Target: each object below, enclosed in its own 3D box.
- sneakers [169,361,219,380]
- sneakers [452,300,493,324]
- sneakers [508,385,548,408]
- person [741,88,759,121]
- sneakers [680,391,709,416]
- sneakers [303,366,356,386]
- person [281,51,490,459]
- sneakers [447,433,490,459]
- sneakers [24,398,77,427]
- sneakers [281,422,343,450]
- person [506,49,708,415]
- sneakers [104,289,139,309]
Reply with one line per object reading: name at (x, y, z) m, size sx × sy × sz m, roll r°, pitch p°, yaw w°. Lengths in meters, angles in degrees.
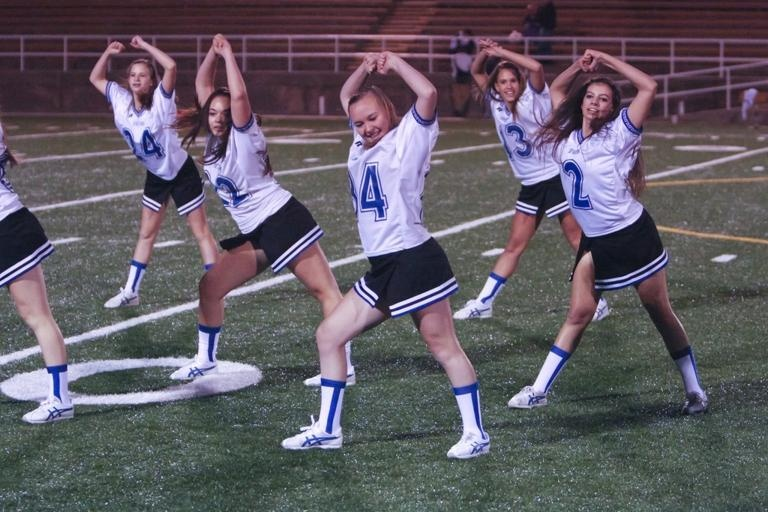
sneakers at (-1.329, 0.804, 6.308) m, size 0.365 × 0.144 × 0.120 m, roll -10°, pitch 3°, yaw -7°
sneakers at (0.751, 0.461, 7.456) m, size 0.349 × 0.142 × 0.144 m, roll -2°, pitch 6°, yaw -8°
sneakers at (0.944, 0.922, 5.846) m, size 0.253 × 0.102 × 0.111 m, roll 1°, pitch -4°, yaw -22°
person at (8.403, -3.485, 20.578) m, size 0.350 × 0.680 × 0.630 m, roll 1°, pitch 12°, yaw 22°
sneakers at (1.970, 0.932, 5.663) m, size 0.180 × 0.172 × 0.112 m, roll -8°, pitch -3°, yaw 8°
sneakers at (-0.369, 0.802, 6.145) m, size 0.473 × 0.189 × 0.163 m, roll 0°, pitch -6°, yaw -5°
person at (0.030, 0.031, 5.136) m, size 1.025 × 2.271 × 0.389 m, roll -3°, pitch 11°, yaw 5°
sneakers at (0.501, 1.093, 5.207) m, size 0.280 × 0.122 × 0.113 m, roll -2°, pitch 0°, yaw -24°
sneakers at (-2.058, 0.974, 5.606) m, size 0.359 × 0.140 × 0.126 m, roll 0°, pitch 4°, yaw -17°
sneakers at (-0.408, 1.062, 5.317) m, size 0.389 × 0.156 × 0.139 m, roll 1°, pitch -2°, yaw 1°
person at (1.452, -0.166, 5.757) m, size 1.186 × 2.282 × 0.873 m, roll 1°, pitch 12°, yaw 23°
sneakers at (-2.232, 0.367, 7.726) m, size 0.347 × 0.140 × 0.121 m, roll -2°, pitch 9°, yaw -19°
